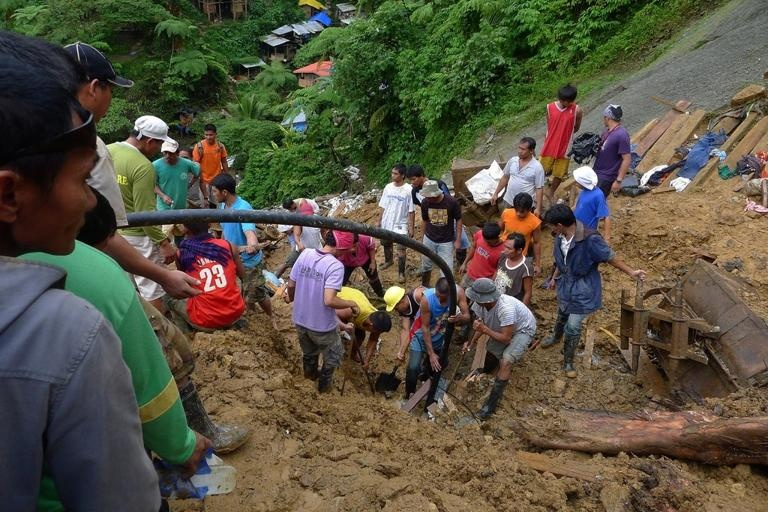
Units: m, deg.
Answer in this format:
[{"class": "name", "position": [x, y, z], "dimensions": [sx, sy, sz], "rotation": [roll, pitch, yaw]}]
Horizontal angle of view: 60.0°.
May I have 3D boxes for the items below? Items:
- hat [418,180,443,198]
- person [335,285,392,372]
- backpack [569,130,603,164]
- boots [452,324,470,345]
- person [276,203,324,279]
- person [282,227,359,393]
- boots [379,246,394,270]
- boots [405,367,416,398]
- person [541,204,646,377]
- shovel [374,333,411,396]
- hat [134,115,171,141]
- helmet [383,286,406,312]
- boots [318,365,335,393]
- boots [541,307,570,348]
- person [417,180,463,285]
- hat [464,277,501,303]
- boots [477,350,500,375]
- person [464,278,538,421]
[{"class": "hat", "position": [0.799, -1.039, 10.673], "dimensions": [0.271, 0.158, 0.280], "rotation": [23, 40, 38]}, {"class": "person", "position": [-0.386, 0.994, 9.554], "dimensions": [0.571, 0.747, 1.336], "rotation": [5, 9, -21]}, {"class": "backpack", "position": [3.721, -1.897, 12.058], "dimensions": [0.279, 0.742, 0.495], "rotation": [27, 2, -35]}, {"class": "boots", "position": [1.200, 1.277, 10.598], "dimensions": [0.149, 0.210, 0.455], "rotation": [0, 28, 44]}, {"class": "person", "position": [-1.256, -0.191, 9.937], "dimensions": [0.454, 0.805, 1.393], "rotation": [29, 0, -6]}, {"class": "person", "position": [-0.854, 0.730, 8.826], "dimensions": [0.966, 2.203, 0.747], "rotation": [17, 29, 24]}, {"class": "boots", "position": [0.067, 0.049, 12.733], "dimensions": [0.181, 0.485, 0.382], "rotation": [9, 36, 18]}, {"class": "boots", "position": [0.389, 1.811, 9.514], "dimensions": [0.100, 0.420, 0.117], "rotation": [-15, 58, -5]}, {"class": "person", "position": [3.098, 0.603, 9.828], "dimensions": [0.967, 2.212, 1.312], "rotation": [-15, 34, 0]}, {"class": "shovel", "position": [0.143, 1.744, 9.686], "dimensions": [0.303, 0.113, 0.602], "rotation": [10, 50, 45]}, {"class": "hat", "position": [-3.029, -1.681, 8.770], "dimensions": [0.298, 0.245, 0.425], "rotation": [35, 33, 20]}, {"class": "helmet", "position": [0.185, 0.558, 9.450], "dimensions": [0.258, 0.172, 0.352], "rotation": [-20, 34, 52]}, {"class": "boots", "position": [-0.756, 1.626, 8.801], "dimensions": [0.144, 0.528, 0.134], "rotation": [9, 32, 1]}, {"class": "boots", "position": [2.601, 1.108, 10.073], "dimensions": [0.170, 0.553, 0.448], "rotation": [-22, 49, -13]}, {"class": "person", "position": [0.896, -0.254, 11.025], "dimensions": [0.670, 2.125, 0.652], "rotation": [7, 28, 21]}, {"class": "hat", "position": [1.336, 0.481, 8.896], "dimensions": [0.450, 0.366, 0.274], "rotation": [13, 32, 7]}, {"class": "boots", "position": [1.539, 1.576, 9.762], "dimensions": [0.198, 0.216, 0.634], "rotation": [-16, -7, 3]}, {"class": "person", "position": [1.651, 1.348, 9.340], "dimensions": [0.969, 1.425, 0.801], "rotation": [-27, 44, -1]}]
